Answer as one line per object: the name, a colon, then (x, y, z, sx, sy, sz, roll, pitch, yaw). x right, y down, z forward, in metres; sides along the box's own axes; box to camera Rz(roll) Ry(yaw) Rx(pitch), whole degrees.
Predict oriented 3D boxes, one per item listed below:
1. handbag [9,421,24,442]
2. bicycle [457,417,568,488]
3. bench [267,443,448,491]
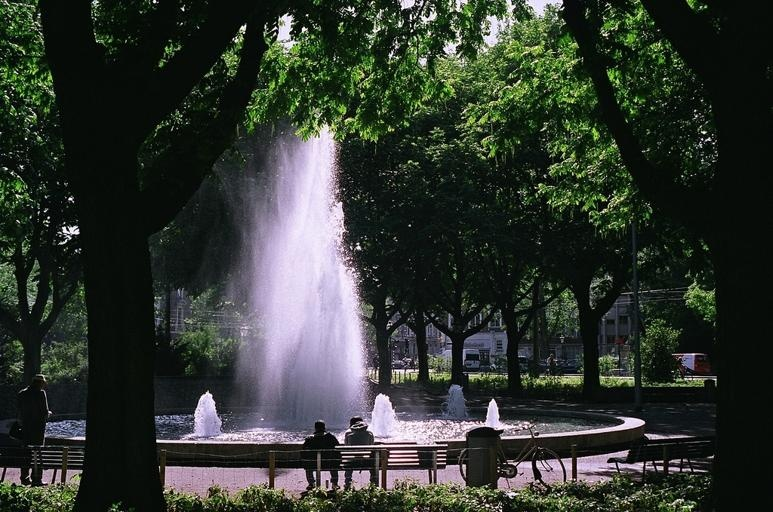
handbag: (-8.531, 4.033, 24.866, 0.266, 0.411, 0.509, 2, -12, -19)
bicycle: (2.927, 4.483, 24.432, 2.350, 1.461, 1.196, -3, -6, 1)
bench: (-0.056, 4.508, 23.290, 3.625, 1.005, 2.110, 8, -16, -39)
